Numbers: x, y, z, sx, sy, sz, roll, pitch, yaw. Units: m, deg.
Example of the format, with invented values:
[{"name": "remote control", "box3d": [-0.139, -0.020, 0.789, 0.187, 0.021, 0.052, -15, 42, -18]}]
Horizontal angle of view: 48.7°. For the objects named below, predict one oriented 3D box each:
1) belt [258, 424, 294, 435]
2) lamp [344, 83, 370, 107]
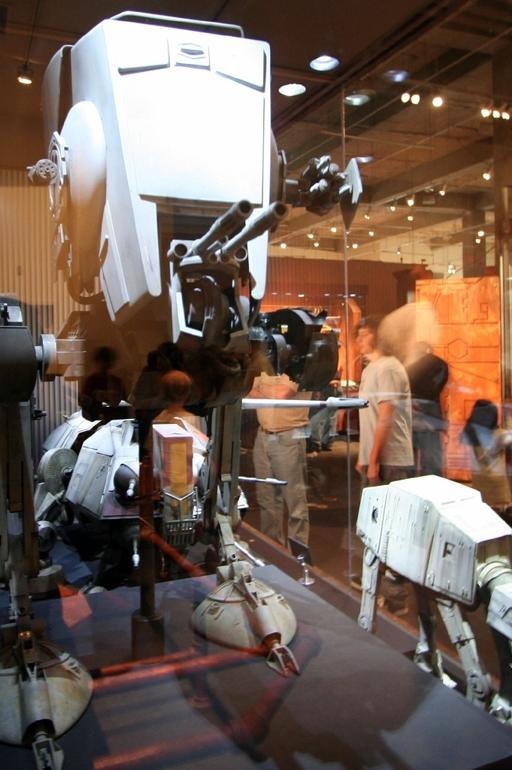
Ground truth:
[{"name": "belt", "box3d": [0.111, 0.247, 3.034, 0.217, 0.060, 0.066, 4, 3, 30]}, {"name": "lamp", "box3d": [0.312, -0.861, 1.702, 0.098, 0.063, 0.034, 1, 3, -30]}]
